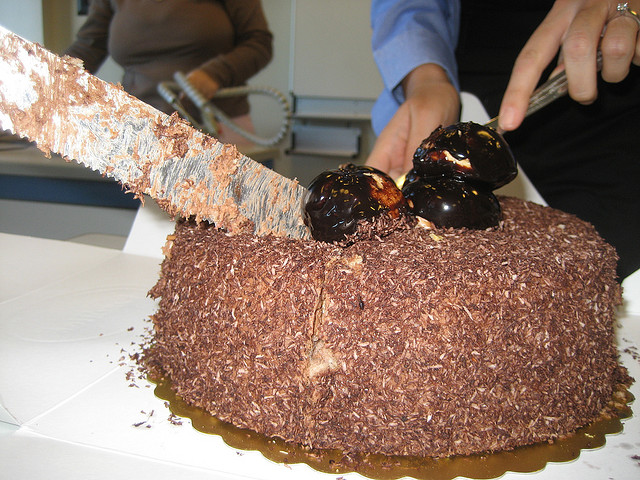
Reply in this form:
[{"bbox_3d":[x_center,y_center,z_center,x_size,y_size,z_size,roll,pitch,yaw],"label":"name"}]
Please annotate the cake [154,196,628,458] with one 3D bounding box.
[{"bbox_3d":[0.190,0.159,1.998,1.243,1.246,0.311,0,98,7],"label":"cake"}]
